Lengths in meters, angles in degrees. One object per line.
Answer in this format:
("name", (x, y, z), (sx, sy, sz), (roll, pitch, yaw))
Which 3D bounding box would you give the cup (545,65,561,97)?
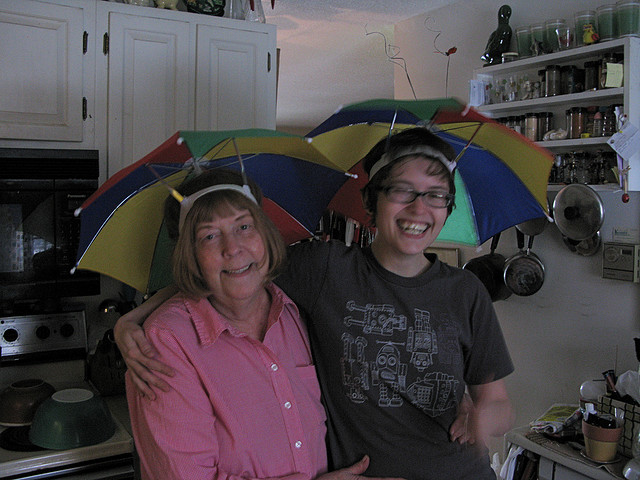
("cup", (1.318, -0.910, 2.984), (0.083, 0.180, 0.053), (0, 2, 19))

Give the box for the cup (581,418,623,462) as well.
("cup", (1.295, 0.914, 2.437), (0.151, 0.153, 0.172), (0, -7, 3))

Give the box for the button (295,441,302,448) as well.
("button", (-0.062, 0.607, 1.558), (0.021, 0.018, 0.004), (-1, 2, -8))

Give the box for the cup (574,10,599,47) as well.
("cup", (1.429, -1.147, 2.830), (0.110, 0.220, 0.134), (0, 2, 24))

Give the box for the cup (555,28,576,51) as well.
("cup", (1.343, -1.109, 2.881), (0.099, 0.113, 0.107), (0, -5, 0))

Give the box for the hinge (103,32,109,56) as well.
("hinge", (-0.988, -0.918, 2.449), (0.028, 0.096, 0.007), (-1, 2, 0))

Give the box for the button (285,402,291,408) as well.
("button", (-0.094, 0.491, 1.562), (0.015, 0.015, 0.003), (-1, 2, -6))

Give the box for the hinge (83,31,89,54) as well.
("hinge", (-1.065, -0.912, 2.410), (0.023, 0.096, 0.010), (-2, 2, -31))

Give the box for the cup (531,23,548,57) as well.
("cup", (1.249, -1.151, 3.010), (0.080, 0.200, 0.082), (-1, 2, 0))

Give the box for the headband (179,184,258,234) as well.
("headband", (-0.307, -0.098, 1.607), (0.233, 0.145, 0.075), (-2, 2, -15))

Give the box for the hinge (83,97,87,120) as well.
("hinge", (-1.078, -0.613, 2.433), (0.018, 0.097, 0.006), (-2, 2, -22))

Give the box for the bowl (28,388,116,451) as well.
("bowl", (-0.969, 0.674, 2.092), (0.218, 0.128, 0.230), (7, -1, 0))

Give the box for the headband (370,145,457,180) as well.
("headband", (0.296, -0.253, 1.683), (0.271, 0.097, 0.070), (-1, 2, 6))
